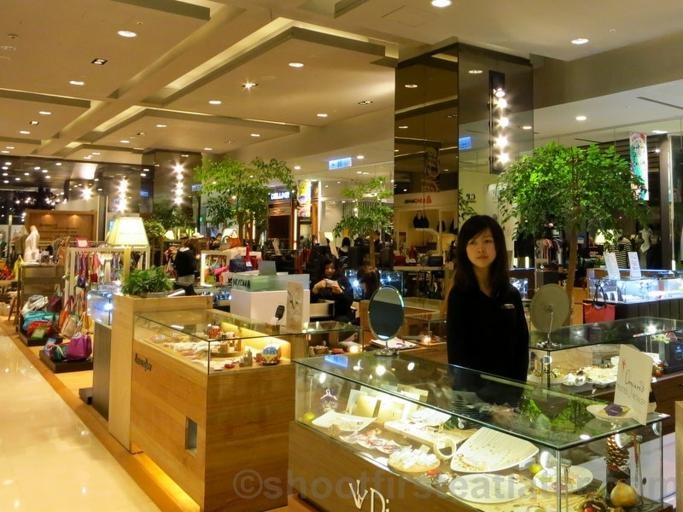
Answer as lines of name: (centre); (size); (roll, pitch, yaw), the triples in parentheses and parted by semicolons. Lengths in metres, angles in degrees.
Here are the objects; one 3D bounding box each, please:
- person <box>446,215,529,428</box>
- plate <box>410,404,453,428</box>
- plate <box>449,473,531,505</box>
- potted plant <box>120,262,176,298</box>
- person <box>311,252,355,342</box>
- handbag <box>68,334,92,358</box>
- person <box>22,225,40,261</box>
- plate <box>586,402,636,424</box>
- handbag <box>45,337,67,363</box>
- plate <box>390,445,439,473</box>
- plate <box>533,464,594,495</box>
person: (0.740, 0.281, 2.576); (0.440, 0.980, 0.884); (0, 5, 20)
plate: (0.359, 0.669, 2.026); (0.201, 0.087, 0.014); (3, 6, 43)
plate: (0.536, 0.849, 1.794); (0.182, 0.021, 0.130); (-1, 30, 15)
potted plant: (-1.875, 0.225, 4.707); (0.324, 0.234, 0.322); (0, 1, -28)
person: (-0.133, 0.443, 6.600); (0.560, 0.897, 0.774); (-2, 4, -3)
handbag: (-3.810, 1.343, 7.273); (0.347, 0.358, 0.258); (1, -2, -8)
person: (-7.256, -0.298, 11.490); (0.296, 0.794, 1.127); (-4, 5, -31)
plate: (1.003, 0.587, 1.895); (0.121, 0.042, 0.189); (-3, 5, -11)
handbag: (-4.359, 1.387, 7.398); (0.288, 0.346, 0.926); (4, -6, -33)
plate: (0.290, 0.824, 1.980); (0.209, 0.073, 0.095); (1, 5, 34)
plate: (0.757, 0.764, 1.685); (0.150, 0.023, 0.151); (-6, -3, -6)
